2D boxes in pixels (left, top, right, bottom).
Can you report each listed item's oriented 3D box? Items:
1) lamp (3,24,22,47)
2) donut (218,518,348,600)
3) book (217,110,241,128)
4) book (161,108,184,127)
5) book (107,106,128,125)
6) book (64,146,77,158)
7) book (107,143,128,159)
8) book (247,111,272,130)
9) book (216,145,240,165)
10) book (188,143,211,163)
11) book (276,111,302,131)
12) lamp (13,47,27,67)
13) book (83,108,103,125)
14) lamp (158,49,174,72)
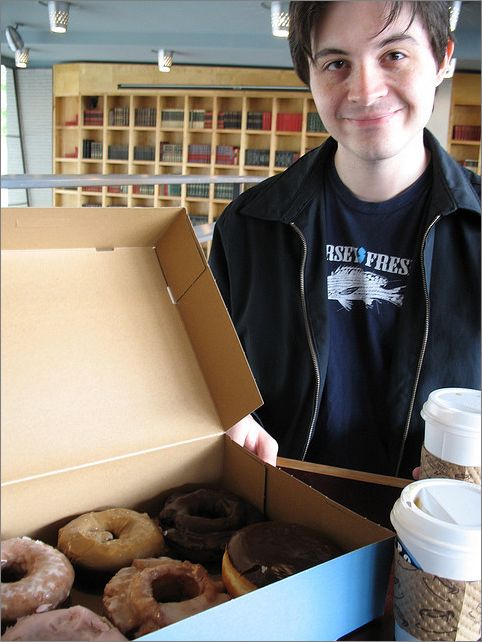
[{"bbox_3d":[-2.421,-3.042,5.653,0.145,0.265,0.336,-4,11,-17],"label":"lamp"},{"bbox_3d":[0.047,0.272,0.599,0.137,0.056,0.135,7,5,15],"label":"donut"},{"bbox_3d":[-0.138,-2.522,6.605,0.267,0.226,0.144,3,0,11],"label":"book"},{"bbox_3d":[-0.886,-2.673,6.909,0.272,0.234,0.142,4,15,7],"label":"book"},{"bbox_3d":[-1.682,-2.820,7.259,0.253,0.230,0.182,11,21,22],"label":"book"},{"bbox_3d":[-2.476,-2.468,7.771,0.205,0.170,0.046,3,-2,-1],"label":"book"},{"bbox_3d":[-1.710,-2.352,7.336,0.236,0.200,0.124,4,13,9],"label":"book"},{"bbox_3d":[0.228,-2.461,6.471,0.255,0.218,0.137,2,8,20],"label":"book"},{"bbox_3d":[-0.141,-2.077,6.795,0.334,0.300,0.237,1,-5,5],"label":"book"},{"bbox_3d":[-0.537,-2.171,6.841,0.309,0.254,0.160,2,1,7],"label":"book"},{"bbox_3d":[0.617,-2.381,6.479,0.342,0.303,0.233,2,2,10],"label":"book"},{"bbox_3d":[-2.420,-2.912,5.824,0.115,0.169,0.366,-6,12,-23],"label":"lamp"},{"bbox_3d":[-2.070,-2.876,7.430,0.281,0.229,0.143,1,2,0],"label":"book"},{"bbox_3d":[-0.853,-2.958,5.990,0.169,0.220,0.221,-2,11,-6],"label":"lamp"}]
